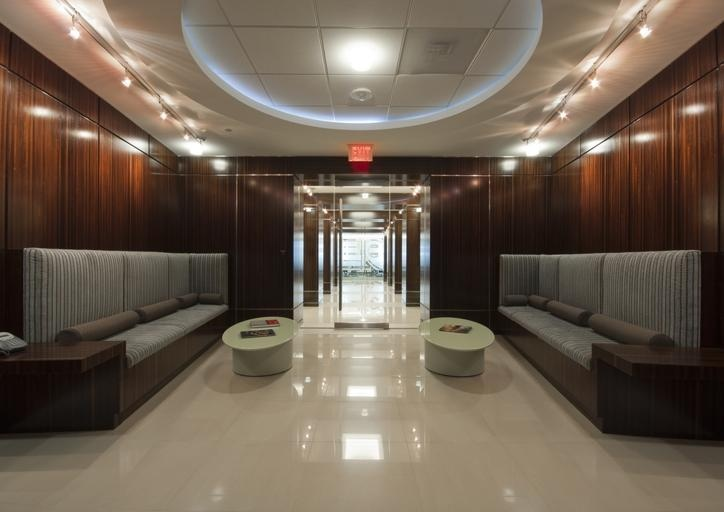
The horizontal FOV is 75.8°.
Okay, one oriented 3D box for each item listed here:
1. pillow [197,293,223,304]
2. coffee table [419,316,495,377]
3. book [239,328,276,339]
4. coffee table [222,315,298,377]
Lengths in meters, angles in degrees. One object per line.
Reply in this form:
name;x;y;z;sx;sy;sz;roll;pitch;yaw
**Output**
pillow;-2.452;0.669;7.536;0.276;0.166;0.187;3;-22;1
coffee table;1.219;1.204;6.032;0.857;0.537;1.106;-3;9;-19
book;-1.339;0.952;5.983;0.500;0.056;0.384;0;3;-12
coffee table;-1.295;1.121;6.005;0.646;0.300;0.899;-2;6;-17
